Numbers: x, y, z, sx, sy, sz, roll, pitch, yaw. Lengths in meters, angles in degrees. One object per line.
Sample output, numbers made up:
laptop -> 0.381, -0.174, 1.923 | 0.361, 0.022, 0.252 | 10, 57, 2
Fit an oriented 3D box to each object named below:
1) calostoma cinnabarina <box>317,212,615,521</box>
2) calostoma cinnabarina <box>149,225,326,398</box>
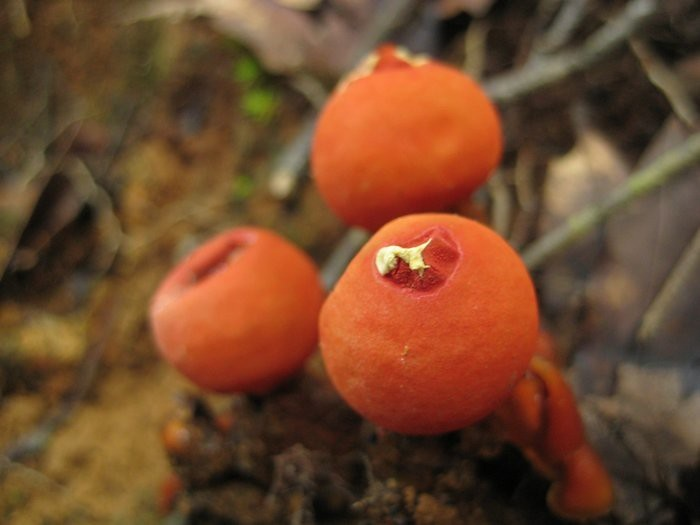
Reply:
calostoma cinnabarina -> 0.088, 0.064, 0.714 | 0.167, 0.140, 0.288 | -38, 86, 18
calostoma cinnabarina -> -0.092, 0.039, 0.708 | 0.149, 0.078, 0.120 | -35, 66, -12
